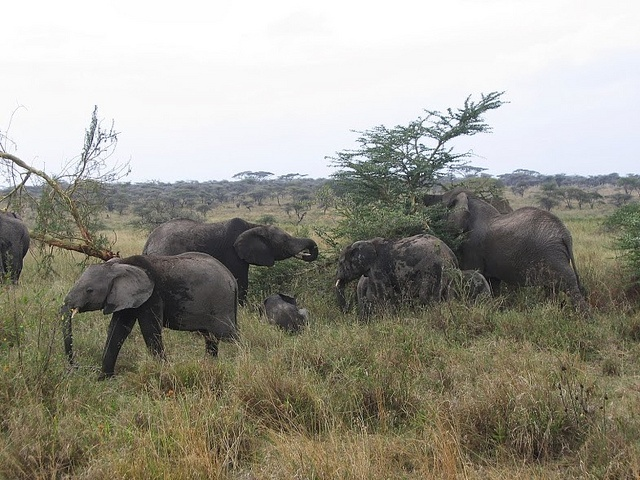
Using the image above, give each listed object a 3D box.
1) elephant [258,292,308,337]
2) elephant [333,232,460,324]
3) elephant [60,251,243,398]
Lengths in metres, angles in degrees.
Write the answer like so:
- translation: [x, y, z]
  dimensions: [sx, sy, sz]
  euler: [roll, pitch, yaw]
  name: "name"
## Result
- translation: [-0.624, 1.234, 10.313]
  dimensions: [0.683, 0.617, 1.163]
  euler: [-4, 11, -4]
  name: "elephant"
- translation: [1.305, 0.684, 10.694]
  dimensions: [2.229, 1.448, 1.035]
  euler: [-5, 1, 28]
  name: "elephant"
- translation: [-2.233, 1.017, 8.213]
  dimensions: [2.354, 1.591, 1.012]
  euler: [-1, 3, -20]
  name: "elephant"
